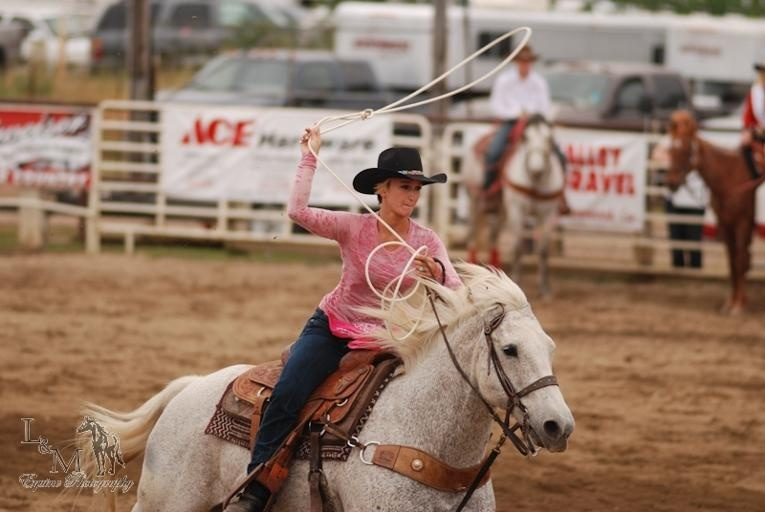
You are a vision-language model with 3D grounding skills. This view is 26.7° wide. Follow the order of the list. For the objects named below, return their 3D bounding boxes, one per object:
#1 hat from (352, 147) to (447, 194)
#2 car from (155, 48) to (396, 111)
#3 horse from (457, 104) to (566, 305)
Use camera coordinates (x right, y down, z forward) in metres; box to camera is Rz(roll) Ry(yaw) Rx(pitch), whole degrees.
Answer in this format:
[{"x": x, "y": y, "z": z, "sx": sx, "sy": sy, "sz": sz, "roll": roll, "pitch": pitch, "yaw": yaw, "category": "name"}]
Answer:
[{"x": 0.078, "y": -0.903, "z": 16.949, "sx": 0.584, "sy": 0.297, "sz": 0.658, "roll": 6, "pitch": -8, "yaw": -45, "category": "hat"}, {"x": -1.722, "y": -3.024, "z": 27.111, "sx": 2.215, "sy": 1.123, "sz": 4.610, "roll": 5, "pitch": 4, "yaw": 31, "category": "car"}, {"x": 2.082, "y": -0.910, "z": 24.070, "sx": 1.061, "sy": 2.604, "sz": 3.756, "roll": 0, "pitch": 7, "yaw": -3, "category": "horse"}]
